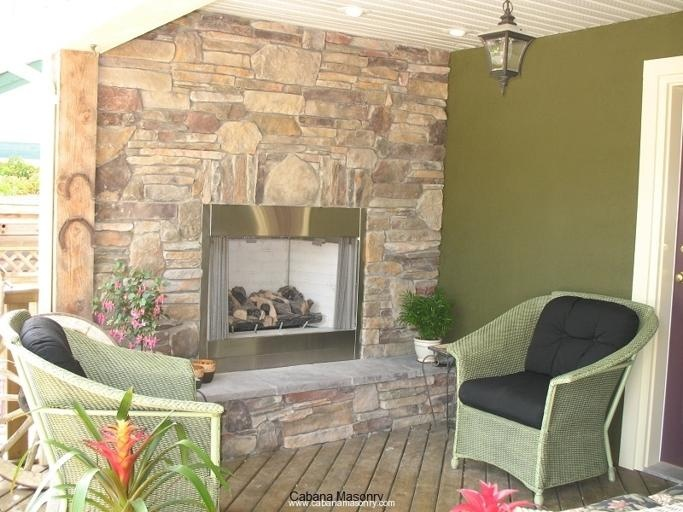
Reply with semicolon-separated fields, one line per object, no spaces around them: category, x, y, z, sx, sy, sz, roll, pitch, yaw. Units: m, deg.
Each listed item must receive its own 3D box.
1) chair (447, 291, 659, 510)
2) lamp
chair;1.306;0.797;3.510;1.367;1.102;1.393;-1;2;-33
lamp;0.784;-0.964;2.371;0.227;0.376;0.143;2;4;-19
